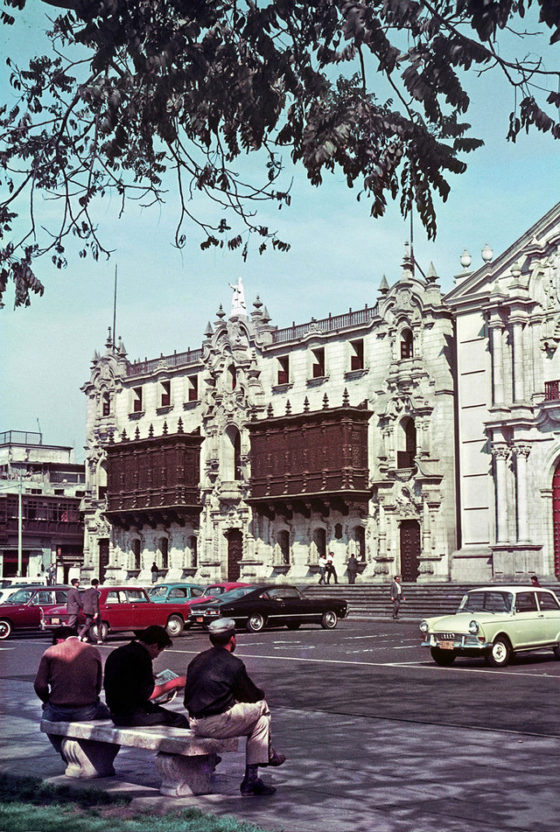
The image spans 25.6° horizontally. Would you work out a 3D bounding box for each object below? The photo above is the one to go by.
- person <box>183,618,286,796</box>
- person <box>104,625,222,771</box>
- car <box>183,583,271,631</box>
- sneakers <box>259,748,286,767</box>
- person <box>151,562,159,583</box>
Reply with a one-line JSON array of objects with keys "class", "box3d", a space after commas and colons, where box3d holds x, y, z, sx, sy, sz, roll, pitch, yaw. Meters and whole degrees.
[{"class": "person", "box3d": [-0.407, 2.419, 10.175, 0.560, 1.446, 0.692, -5, -8, 34]}, {"class": "person", "box3d": [-1.058, 2.551, 10.856, 0.996, 1.408, 0.614, 6, -17, -22]}, {"class": "car", "box3d": [-1.480, 5.283, 34.029, 2.489, 0.851, 1.103, 3, -11, -41]}, {"class": "sneakers", "box3d": [-0.024, 2.894, 10.316, 0.314, 0.144, 0.105, -1, 1, -45]}, {"class": "person", "box3d": [-6.208, 7.852, 61.315, 0.405, 0.972, 1.347, 0, -7, -6]}]
